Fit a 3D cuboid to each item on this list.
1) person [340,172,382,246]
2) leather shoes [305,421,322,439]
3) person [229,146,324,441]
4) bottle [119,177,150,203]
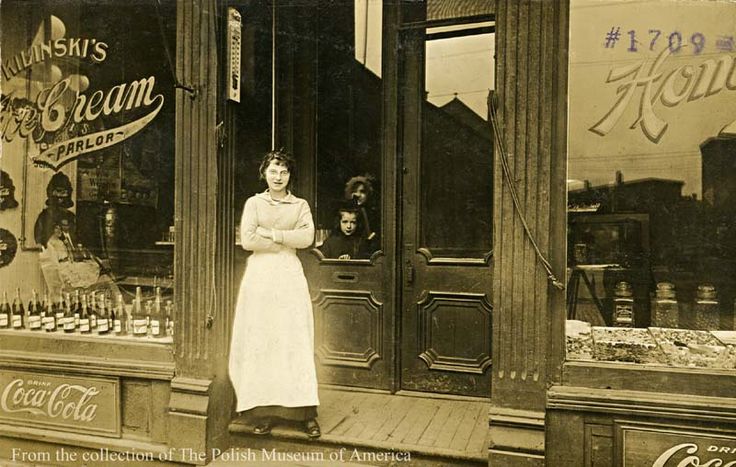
[{"bbox_3d":[-0.072,-0.241,10.543,0.373,0.753,0.099,1,-4,-1],"label":"person"},{"bbox_3d":[-0.533,1.871,9.488,0.160,0.178,0.117,1,-4,-3],"label":"leather shoes"},{"bbox_3d":[-0.885,0.587,9.582,0.886,2.724,0.352,2,-4,-8],"label":"person"},{"bbox_3d":[-2.317,-0.424,9.966,0.289,0.266,0.078,0,-2,23],"label":"bottle"}]
